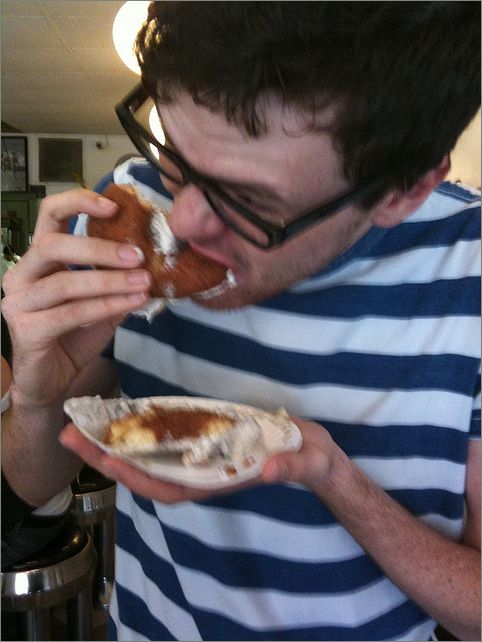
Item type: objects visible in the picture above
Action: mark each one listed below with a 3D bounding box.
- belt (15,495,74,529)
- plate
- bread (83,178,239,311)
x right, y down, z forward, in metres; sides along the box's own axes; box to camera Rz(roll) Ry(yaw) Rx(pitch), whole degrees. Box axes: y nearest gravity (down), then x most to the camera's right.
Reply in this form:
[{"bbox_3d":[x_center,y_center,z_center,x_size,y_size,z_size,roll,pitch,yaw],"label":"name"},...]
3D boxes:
[{"bbox_3d":[-0.423,0.413,1.310,0.061,0.029,0.081,-25,20,17],"label":"belt"},{"bbox_3d":[-0.086,0.177,0.849,0.273,0.041,0.153,5,18,5],"label":"plate"},{"bbox_3d":[-0.122,-0.116,0.850,0.211,0.150,0.080,36,25,5],"label":"bread"}]
